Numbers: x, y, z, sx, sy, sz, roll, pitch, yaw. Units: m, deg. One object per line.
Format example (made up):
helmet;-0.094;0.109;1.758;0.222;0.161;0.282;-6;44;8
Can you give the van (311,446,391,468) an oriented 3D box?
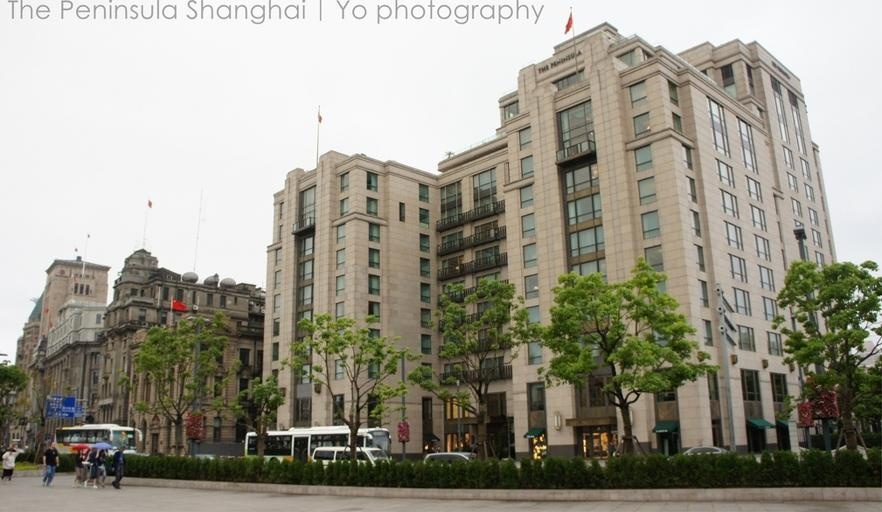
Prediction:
van;-8.931;19.921;80.415;8.920;2.510;2.756;-10;-19;20

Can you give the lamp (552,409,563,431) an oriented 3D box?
lamp;13.511;18.809;92.804;0.926;2.382;0.907;-2;-21;1

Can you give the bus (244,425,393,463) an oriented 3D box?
bus;-14.960;22.221;94.084;17.441;4.019;4.266;-7;-13;23
